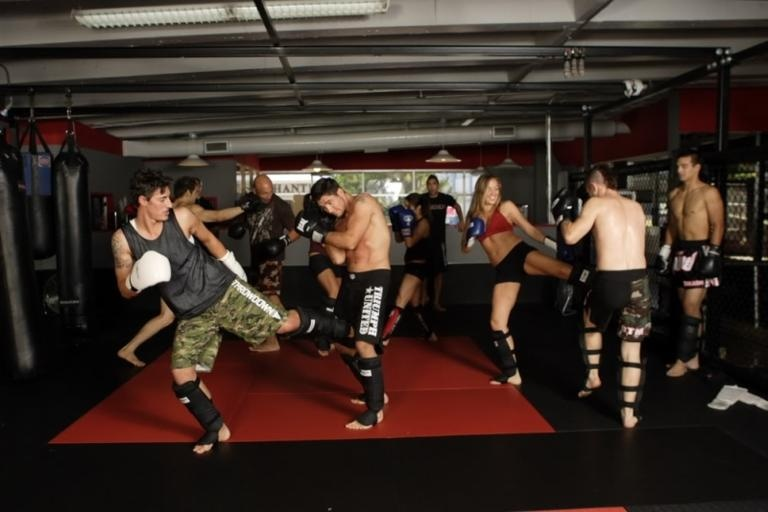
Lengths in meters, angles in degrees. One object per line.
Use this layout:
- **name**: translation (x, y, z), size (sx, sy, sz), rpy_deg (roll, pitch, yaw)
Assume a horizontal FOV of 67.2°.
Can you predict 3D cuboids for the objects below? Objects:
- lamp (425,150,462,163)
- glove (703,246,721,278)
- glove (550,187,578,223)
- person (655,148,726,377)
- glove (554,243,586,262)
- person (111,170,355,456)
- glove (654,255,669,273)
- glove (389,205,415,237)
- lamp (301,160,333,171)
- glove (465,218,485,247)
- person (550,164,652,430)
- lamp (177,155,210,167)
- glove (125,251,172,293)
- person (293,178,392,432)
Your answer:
- **lamp**: translation (1.365, -2.237, 12.875), size (0.904, 0.230, 0.875), rpy_deg (-1, 6, -10)
- **glove**: translation (3.226, 0.042, 5.663), size (0.182, 0.303, 0.162), rpy_deg (3, 15, 13)
- **glove**: translation (1.688, -0.497, 5.288), size (0.119, 0.343, 0.247), rpy_deg (19, -15, -24)
- **person**: translation (3.103, 0.060, 5.829), size (0.528, 2.165, 0.901), rpy_deg (5, 16, 18)
- **glove**: translation (2.658, -0.057, 8.095), size (0.367, 0.332, 0.092), rpy_deg (6, -3, 36)
- **person**: translation (-1.328, 0.391, 4.642), size (1.356, 2.165, 0.650), rpy_deg (-9, 17, -29)
- **glove**: translation (2.964, 0.064, 6.233), size (0.102, 0.175, 0.299), rpy_deg (0, 11, 18)
- **glove**: translation (0.244, -0.468, 7.131), size (0.270, 0.190, 0.443), rpy_deg (-10, 29, -17)
- **lamp**: translation (-1.286, -1.849, 11.896), size (0.466, 0.156, 0.465), rpy_deg (2, 4, 25)
- **glove**: translation (0.908, -0.233, 5.675), size (0.179, 0.276, 0.094), rpy_deg (9, 9, 11)
- **person**: translation (1.914, 0.307, 4.980), size (0.735, 2.086, 0.782), rpy_deg (6, 16, 21)
- **lamp**: translation (-3.434, -1.699, 10.317), size (0.412, 0.157, 0.412), rpy_deg (2, 6, 27)
- **glove**: translation (-1.755, 0.105, 4.311), size (0.268, 0.194, 0.159), rpy_deg (-33, -15, 27)
- **person**: translation (-0.336, 0.352, 5.017), size (0.831, 2.085, 0.773), rpy_deg (-4, 6, -5)
